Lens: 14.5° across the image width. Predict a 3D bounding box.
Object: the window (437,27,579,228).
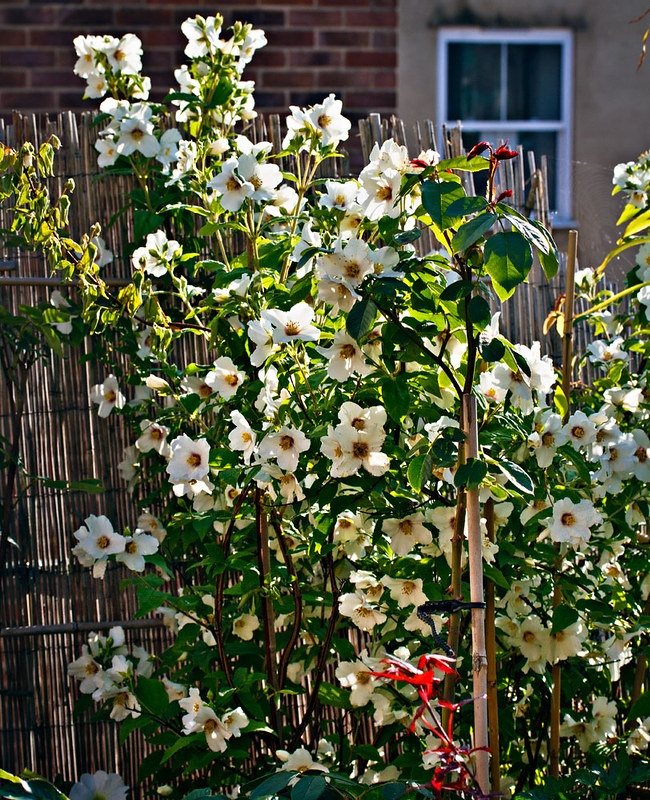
[{"bbox_3d":[0.655,-1.014,9.267,0.513,0.036,0.827,0,-45,4],"label":"window"}]
